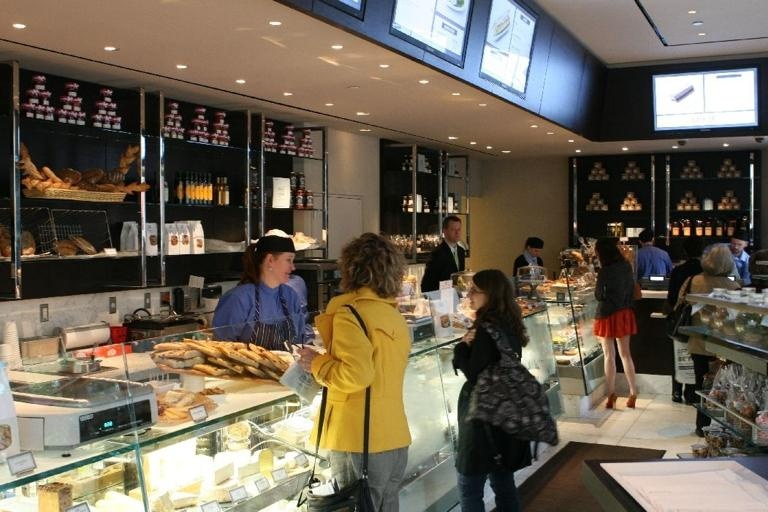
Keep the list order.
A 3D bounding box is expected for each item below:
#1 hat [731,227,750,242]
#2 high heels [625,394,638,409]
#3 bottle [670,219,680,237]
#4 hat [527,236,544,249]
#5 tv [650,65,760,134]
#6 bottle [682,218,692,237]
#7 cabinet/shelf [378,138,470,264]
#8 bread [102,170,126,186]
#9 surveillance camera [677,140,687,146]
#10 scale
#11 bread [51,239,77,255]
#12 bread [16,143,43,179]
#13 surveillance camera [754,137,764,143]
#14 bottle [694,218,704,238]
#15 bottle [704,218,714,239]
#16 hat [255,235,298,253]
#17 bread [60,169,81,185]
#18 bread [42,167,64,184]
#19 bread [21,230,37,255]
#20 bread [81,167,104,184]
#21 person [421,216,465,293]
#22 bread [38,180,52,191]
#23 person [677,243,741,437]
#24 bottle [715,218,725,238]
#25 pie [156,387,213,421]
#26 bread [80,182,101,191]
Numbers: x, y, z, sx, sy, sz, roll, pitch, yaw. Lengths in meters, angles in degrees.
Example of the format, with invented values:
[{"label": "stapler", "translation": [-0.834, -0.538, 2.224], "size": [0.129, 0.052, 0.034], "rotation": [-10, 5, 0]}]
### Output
[{"label": "hat", "translation": [6.034, -0.371, 8.908], "size": [0.247, 0.212, 0.301], "rotation": [2, 10, 4]}, {"label": "high heels", "translation": [2.944, 1.709, 6.192], "size": [0.110, 0.159, 0.201], "rotation": [-2, 8, -3]}, {"label": "bottle", "translation": [5.423, -0.517, 9.828], "size": [0.185, 0.282, 0.130], "rotation": [-1, 3, -6]}, {"label": "hat", "translation": [2.387, -0.204, 8.427], "size": [0.201, 0.193, 0.254], "rotation": [-4, 23, -41]}, {"label": "tv", "translation": [4.753, -2.345, 7.709], "size": [1.144, 0.629, 0.110], "rotation": [3, 15, 23]}, {"label": "bottle", "translation": [5.598, -0.534, 9.723], "size": [0.158, 0.323, 0.251], "rotation": [0, 3, 29]}, {"label": "cabinet/shelf", "translation": [0.668, -0.883, 8.653], "size": [1.543, 1.242, 0.384], "rotation": [2, 3, 7]}, {"label": "bread", "translation": [-2.446, -0.723, 4.789], "size": [0.077, 0.137, 0.153], "rotation": [1, 3, 30]}, {"label": "surveillance camera", "translation": [4.836, -1.851, 8.551], "size": [0.119, 0.043, 0.118], "rotation": [-1, -1, 0]}, {"label": "scale", "translation": [-1.145, 0.504, 1.892], "size": [0.284, 0.115, 0.306], "rotation": [1, 3, 31]}, {"label": "bread", "translation": [-2.690, -0.072, 4.469], "size": [0.163, 0.110, 0.148], "rotation": [-3, 3, -37]}, {"label": "bread", "translation": [-2.842, -0.785, 4.246], "size": [0.149, 0.313, 0.510], "rotation": [-3, 3, -33]}, {"label": "surveillance camera", "translation": [5.924, -1.845, 8.301], "size": [0.160, 0.039, 0.141], "rotation": [0, -8, 11]}, {"label": "bottle", "translation": [5.770, -0.531, 9.682], "size": [0.223, 0.321, 0.167], "rotation": [-2, 3, -26]}, {"label": "bottle", "translation": [5.932, -0.500, 9.636], "size": [0.130, 0.318, 0.078], "rotation": [0, 3, 29]}, {"label": "hat", "translation": [-0.718, -0.078, 3.479], "size": [0.176, 0.084, 0.130], "rotation": [2, 0, -21]}, {"label": "bread", "translation": [-2.709, -0.704, 4.548], "size": [0.160, 0.160, 0.034], "rotation": [-17, -30, -48]}, {"label": "bread", "translation": [-2.775, -0.683, 4.428], "size": [0.145, 0.158, 0.315], "rotation": [-2, 3, -30]}, {"label": "bread", "translation": [-2.842, -0.109, 4.198], "size": [0.038, 0.178, 0.180], "rotation": [-8, -9, 22]}, {"label": "bread", "translation": [-2.581, -0.714, 4.699], "size": [0.182, 0.136, 0.102], "rotation": [-2, 3, -26]}, {"label": "person", "translation": [0.663, -0.036, 5.893], "size": [0.497, 0.848, 1.043], "rotation": [-1, 3, 7]}, {"label": "bread", "translation": [-2.725, -0.570, 4.223], "size": [0.080, 0.024, 0.072], "rotation": [9, 29, -9]}, {"label": "person", "translation": [3.283, 0.852, 5.209], "size": [0.674, 1.866, 0.521], "rotation": [2, 8, 35]}, {"label": "bottle", "translation": [6.101, -0.499, 9.609], "size": [0.185, 0.317, 0.090], "rotation": [0, 3, 11]}, {"label": "pie", "translation": [-0.854, 0.623, 2.218], "size": [0.139, 0.039, 0.134], "rotation": [3, 11, -10]}, {"label": "bread", "translation": [-2.572, -0.616, 4.603], "size": [0.084, 0.032, 0.112], "rotation": [10, -9, -40]}]
